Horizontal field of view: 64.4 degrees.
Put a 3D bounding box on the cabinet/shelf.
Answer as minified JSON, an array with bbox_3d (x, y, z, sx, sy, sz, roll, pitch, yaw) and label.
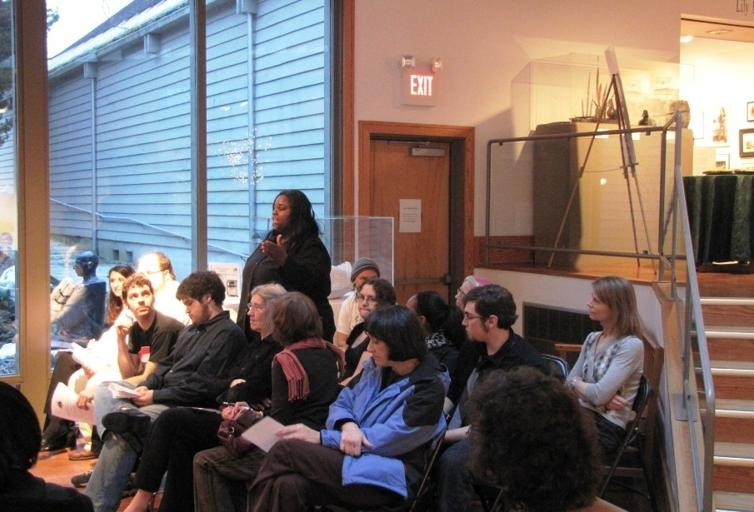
[{"bbox_3d":[2.212,-0.681,6.626,1.137,1.333,1.161,-2,6,-6],"label":"cabinet/shelf"}]

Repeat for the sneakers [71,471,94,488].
[{"bbox_3d":[-2.052,1.548,4.153,0.119,0.073,0.193,0,-1,-26],"label":"sneakers"}]

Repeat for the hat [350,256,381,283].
[{"bbox_3d":[-0.107,0.110,4.794,0.164,0.171,0.216,4,-15,-28],"label":"hat"}]

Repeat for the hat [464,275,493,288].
[{"bbox_3d":[0.773,0.190,4.497,0.151,0.075,0.202,-1,-3,42],"label":"hat"}]

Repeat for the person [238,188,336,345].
[{"bbox_3d":[-0.600,0.056,4.144,0.641,1.077,0.658,0,-1,-19],"label":"person"}]

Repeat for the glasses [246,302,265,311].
[{"bbox_3d":[-0.771,0.324,3.771,0.059,0.078,0.166,0,-1,-34],"label":"glasses"}]

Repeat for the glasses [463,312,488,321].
[{"bbox_3d":[0.574,0.363,3.586,0.036,0.054,0.161,1,-2,-43],"label":"glasses"}]

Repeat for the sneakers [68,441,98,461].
[{"bbox_3d":[-2.262,1.489,4.554,0.251,0.110,0.092,4,-3,-21],"label":"sneakers"}]

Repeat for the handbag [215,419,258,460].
[{"bbox_3d":[-0.808,1.026,3.391,0.211,0.207,0.091,-1,-1,20],"label":"handbag"}]
